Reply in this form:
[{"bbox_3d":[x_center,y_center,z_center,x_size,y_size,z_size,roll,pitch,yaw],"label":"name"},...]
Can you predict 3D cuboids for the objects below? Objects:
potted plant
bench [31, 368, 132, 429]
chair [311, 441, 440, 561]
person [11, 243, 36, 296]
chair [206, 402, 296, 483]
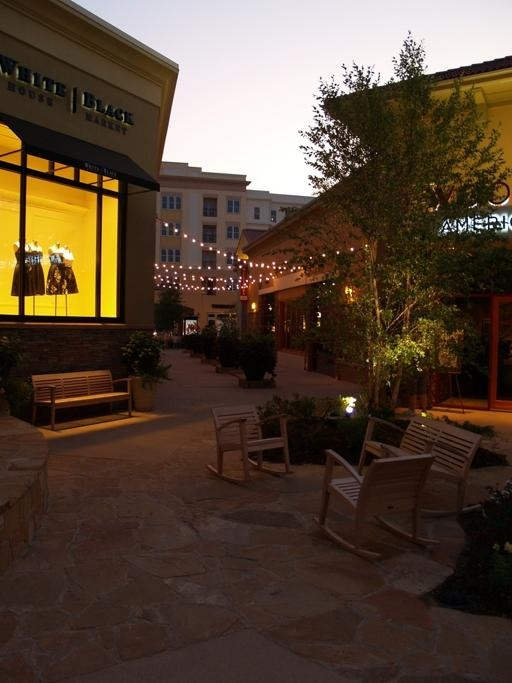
[{"bbox_3d":[-2.471,0.654,10.752,0.809,1.741,1.746,1,-2,18],"label":"potted plant"},{"bbox_3d":[-3.217,1.026,9.144,0.692,0.823,1.979,2,1,26],"label":"bench"},{"bbox_3d":[0.948,1.201,4.005,0.651,0.809,1.014,1,2,-28],"label":"chair"},{"bbox_3d":[-4.488,-1.315,9.393,0.330,1.031,0.725,2,-2,-10],"label":"person"},{"bbox_3d":[-0.086,1.249,6.022,0.915,0.836,1.138,-1,-5,-13],"label":"chair"}]
